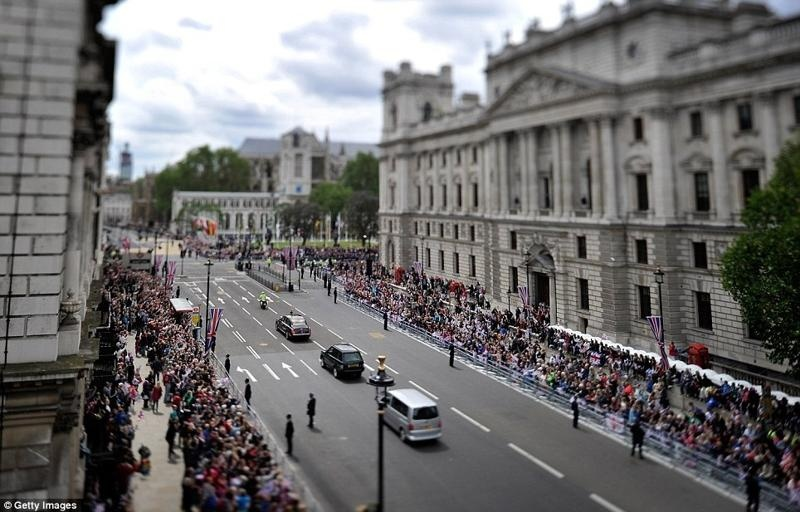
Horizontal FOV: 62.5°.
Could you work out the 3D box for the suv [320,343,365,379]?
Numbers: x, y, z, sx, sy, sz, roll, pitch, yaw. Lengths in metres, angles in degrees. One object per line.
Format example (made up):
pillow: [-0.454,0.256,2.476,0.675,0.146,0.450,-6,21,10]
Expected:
suv: [-3.851,6.992,44.264,1.497,1.490,3.052,2,5,-27]

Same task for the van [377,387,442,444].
van: [0.434,8.656,36.413,2.284,2.056,4.260,1,4,-23]

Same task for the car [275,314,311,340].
car: [-8.536,5.750,52.899,1.475,1.657,3.531,-2,5,-31]

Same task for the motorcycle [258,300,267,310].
motorcycle: [-13.176,4.637,63.549,0.564,0.690,1.069,3,12,-20]
